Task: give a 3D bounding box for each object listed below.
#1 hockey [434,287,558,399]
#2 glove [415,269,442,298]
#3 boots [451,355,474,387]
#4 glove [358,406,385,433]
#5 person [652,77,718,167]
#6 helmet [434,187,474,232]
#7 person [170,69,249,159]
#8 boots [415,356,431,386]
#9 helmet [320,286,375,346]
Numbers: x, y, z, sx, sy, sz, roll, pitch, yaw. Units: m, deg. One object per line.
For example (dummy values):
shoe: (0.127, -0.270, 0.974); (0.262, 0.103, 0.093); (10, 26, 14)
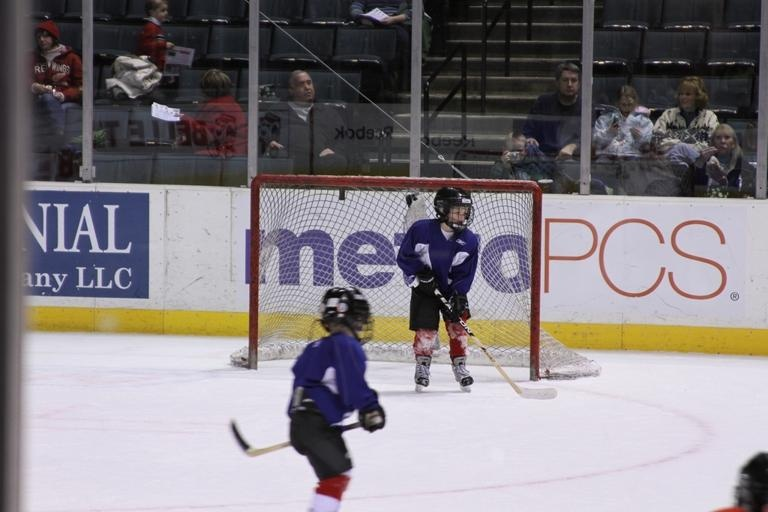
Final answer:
hockey: (0.858, 0.710, 9.498); (0.271, 0.025, 0.968); (-7, 32, -28)
glove: (0.327, 0.207, 9.068); (0.166, 0.196, 0.085); (1, 4, -3)
boots: (0.579, 0.877, 9.055); (0.113, 0.159, 0.277); (-8, 48, -6)
glove: (-0.062, 0.947, 7.017); (0.170, 0.126, 0.130); (2, -7, 1)
person: (2.529, -1.102, 10.203); (0.539, 0.693, 0.522); (12, 27, 31)
helmet: (0.515, -0.345, 9.058); (0.264, 0.316, 0.228); (2, 4, 5)
person: (-1.518, -1.225, 10.744); (0.719, 0.833, 0.629); (-3, 37, -10)
boots: (0.290, 0.869, 9.072); (0.103, 0.232, 0.214); (2, 4, 3)
helmet: (-0.165, 0.352, 7.210); (0.367, 0.322, 0.288); (1, -5, 34)
